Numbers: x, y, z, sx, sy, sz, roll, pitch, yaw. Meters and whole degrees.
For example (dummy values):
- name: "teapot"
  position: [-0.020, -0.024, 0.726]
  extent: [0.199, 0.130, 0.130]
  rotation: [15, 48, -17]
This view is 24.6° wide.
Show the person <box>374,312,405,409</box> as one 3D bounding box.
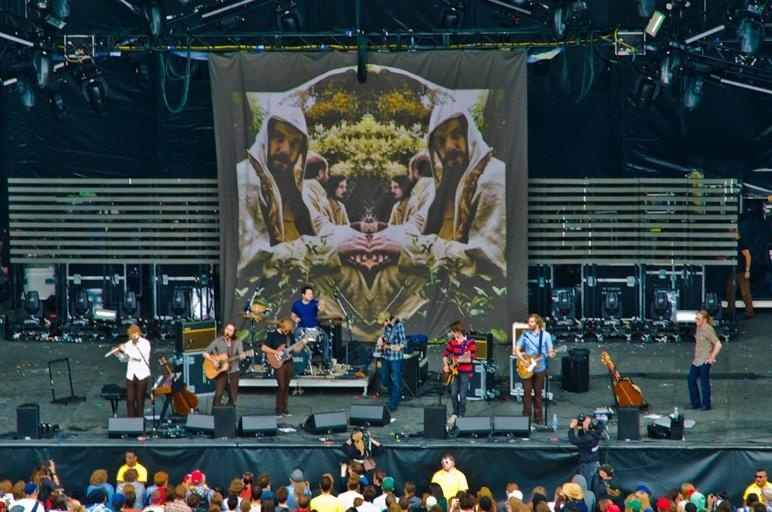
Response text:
- name: "person"
  position: [0.027, 2.392, 41.377]
  extent: [0.623, 2.246, 0.632]
  rotation: [2, 10, 9]

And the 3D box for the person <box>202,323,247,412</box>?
- name: "person"
  position: [-3.753, 2.585, 40.631]
  extent: [0.919, 2.141, 0.778]
  rotation: [3, 18, -5]

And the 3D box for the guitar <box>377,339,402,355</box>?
- name: "guitar"
  position: [0.025, 2.112, 41.204]
  extent: [0.676, 0.400, 0.270]
  rotation: [-4, -5, 36]

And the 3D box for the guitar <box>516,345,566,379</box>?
- name: "guitar"
  position: [3.450, 2.459, 41.037]
  extent: [0.817, 0.347, 0.138]
  rotation: [-20, -9, -8]

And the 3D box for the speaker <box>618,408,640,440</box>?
- name: "speaker"
  position: [5.275, 3.714, 39.447]
  extent: [0.626, 0.915, 0.637]
  rotation: [-1, -1, 9]

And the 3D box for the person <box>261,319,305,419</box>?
- name: "person"
  position: [-2.453, 2.596, 41.189]
  extent: [0.893, 2.327, 0.854]
  rotation: [1, 12, -2]

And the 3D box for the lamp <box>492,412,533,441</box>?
- name: "lamp"
  position: [2.714, 3.827, 39.606]
  extent: [0.868, 0.472, 0.553]
  rotation: [2, -5, 4]

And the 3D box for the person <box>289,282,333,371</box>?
- name: "person"
  position: [-1.816, 1.676, 42.168]
  extent: [0.847, 2.163, 0.865]
  rotation: [4, 31, 2]

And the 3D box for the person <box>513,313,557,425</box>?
- name: "person"
  position: [3.294, 2.488, 40.522]
  extent: [0.857, 2.296, 0.655]
  rotation: [1, 9, 1]

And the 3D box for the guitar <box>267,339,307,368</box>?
- name: "guitar"
  position: [-2.382, 2.232, 40.776]
  extent: [1.017, 0.463, 0.148]
  rotation: [-31, 8, -32]

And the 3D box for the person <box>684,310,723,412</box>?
- name: "person"
  position: [7.253, 2.439, 41.008]
  extent: [0.718, 2.324, 0.868]
  rotation: [-1, 4, -21]

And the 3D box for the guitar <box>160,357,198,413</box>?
- name: "guitar"
  position: [-4.891, 3.051, 40.754]
  extent: [0.674, 1.532, 0.331]
  rotation: [-41, 26, -30]

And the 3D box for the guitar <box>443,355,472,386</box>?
- name: "guitar"
  position: [1.549, 2.572, 40.428]
  extent: [0.640, 0.677, 0.300]
  rotation: [-1, -4, 1]

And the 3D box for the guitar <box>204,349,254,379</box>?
- name: "guitar"
  position: [-3.721, 2.481, 40.623]
  extent: [0.934, 0.582, 0.457]
  rotation: [0, -4, -9]

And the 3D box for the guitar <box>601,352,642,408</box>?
- name: "guitar"
  position: [5.411, 3.006, 40.994]
  extent: [0.711, 1.468, 0.404]
  rotation: [-32, -4, 25]

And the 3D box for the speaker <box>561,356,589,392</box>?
- name: "speaker"
  position: [4.399, 2.805, 42.113]
  extent: [0.620, 0.865, 0.447]
  rotation: [-1, -4, 0]

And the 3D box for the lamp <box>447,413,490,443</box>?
- name: "lamp"
  position: [1.848, 3.823, 39.706]
  extent: [0.881, 0.485, 0.425]
  rotation: [2, -20, -2]

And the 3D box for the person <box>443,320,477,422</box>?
- name: "person"
  position: [1.615, 2.611, 40.529]
  extent: [0.600, 2.231, 0.661]
  rotation: [8, 14, 23]
